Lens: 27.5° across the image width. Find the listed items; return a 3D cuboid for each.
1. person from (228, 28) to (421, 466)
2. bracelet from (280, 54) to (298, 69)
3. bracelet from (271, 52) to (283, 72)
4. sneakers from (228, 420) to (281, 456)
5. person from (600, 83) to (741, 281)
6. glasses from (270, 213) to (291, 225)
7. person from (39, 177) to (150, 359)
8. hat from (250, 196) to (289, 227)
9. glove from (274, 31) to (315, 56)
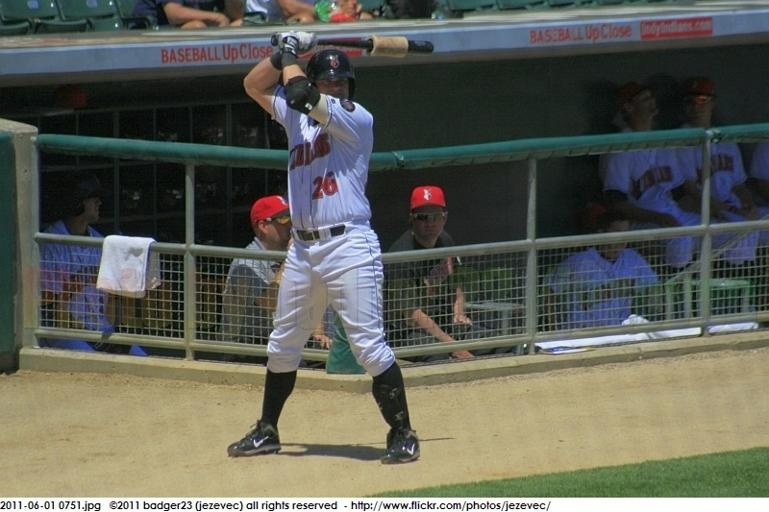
[{"bbox_3d":[-0.403,-0.060,10.862,1.244,3.019,0.602,-1,-1,0],"label":"person"},{"bbox_3d":[-0.666,-1.352,10.860,0.118,0.105,0.099,-1,0,-6],"label":"bracelet"},{"bbox_3d":[-0.757,-1.355,10.922,0.045,0.110,0.093,-28,27,-36],"label":"bracelet"},{"bbox_3d":[-0.909,1.300,11.018,0.441,0.211,0.142,-11,-8,16],"label":"sneakers"},{"bbox_3d":[2.380,-0.639,13.396,1.031,1.679,1.037,-3,4,-24],"label":"person"},{"bbox_3d":[-0.794,-0.279,12.014,0.093,0.035,0.111,-11,14,-35],"label":"glasses"},{"bbox_3d":[-2.362,0.068,12.141,0.527,1.387,0.522,-1,-1,43],"label":"person"},{"bbox_3d":[-0.911,-0.353,12.082,0.305,0.140,0.201,-23,4,16],"label":"hat"},{"bbox_3d":[-0.641,-1.481,10.923,0.239,0.086,0.178,1,2,33],"label":"glove"}]
